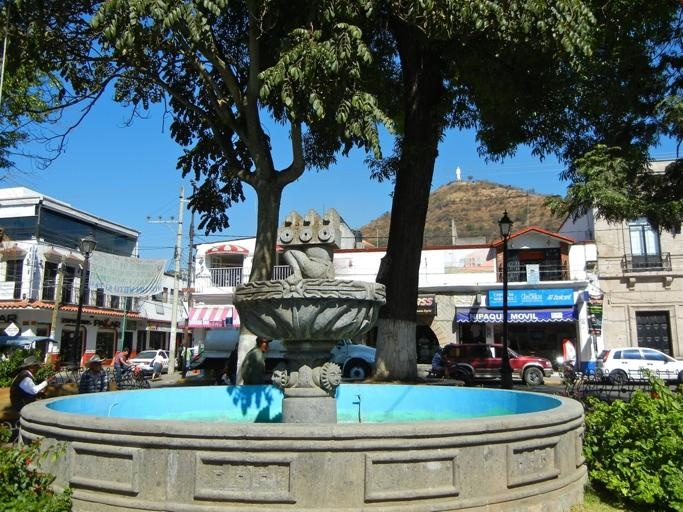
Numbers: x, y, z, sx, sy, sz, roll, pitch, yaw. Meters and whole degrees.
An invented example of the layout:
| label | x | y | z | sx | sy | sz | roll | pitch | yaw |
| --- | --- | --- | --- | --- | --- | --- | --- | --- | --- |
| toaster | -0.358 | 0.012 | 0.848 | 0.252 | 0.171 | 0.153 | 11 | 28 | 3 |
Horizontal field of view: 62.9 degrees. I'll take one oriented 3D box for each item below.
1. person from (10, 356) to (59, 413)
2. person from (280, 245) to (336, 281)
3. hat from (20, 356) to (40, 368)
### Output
| label | x | y | z | sx | sy | sz | roll | pitch | yaw |
| --- | --- | --- | --- | --- | --- | --- | --- | --- | --- |
| person | -5.930 | 2.463 | 10.618 | 0.606 | 1.042 | 1.194 | 3 | -5 | -32 |
| person | -0.460 | 0.106 | 8.096 | 0.720 | 0.551 | 0.699 | 1 | -4 | -9 |
| hat | -6.097 | 2.075 | 11.050 | 0.417 | 0.213 | 0.515 | -1 | -13 | -9 |
